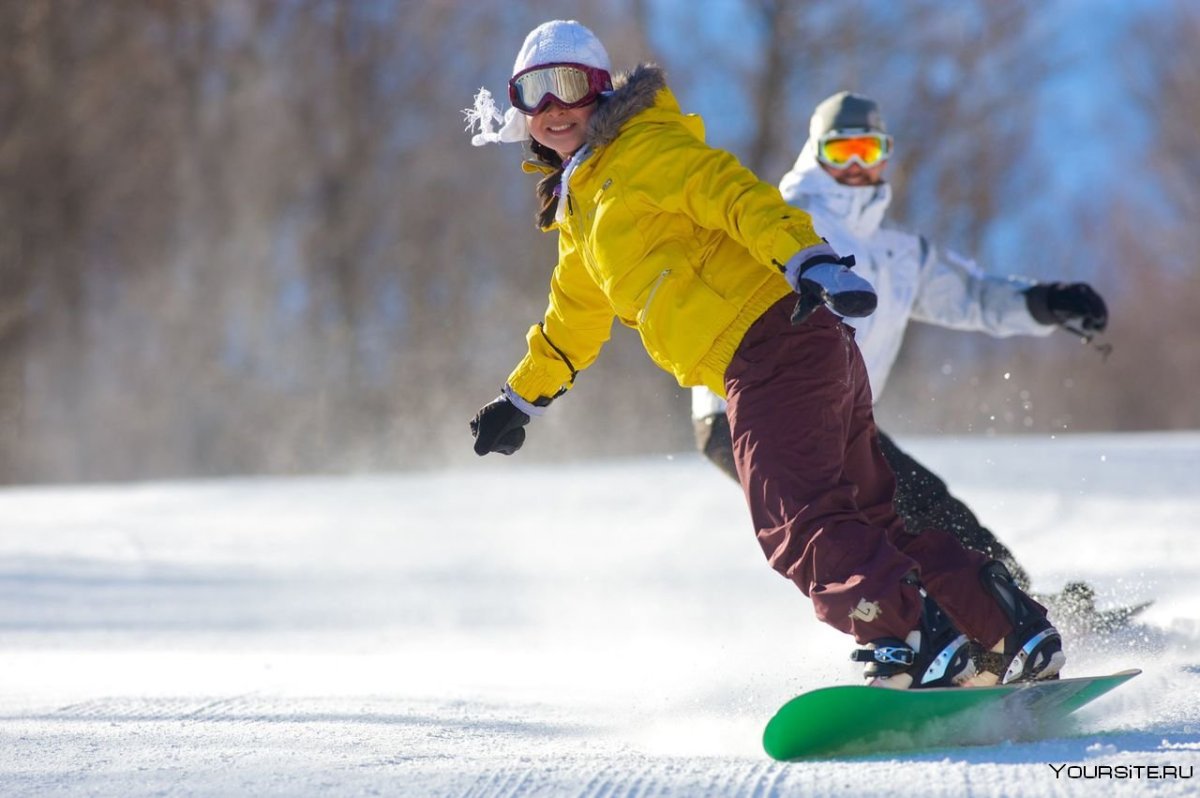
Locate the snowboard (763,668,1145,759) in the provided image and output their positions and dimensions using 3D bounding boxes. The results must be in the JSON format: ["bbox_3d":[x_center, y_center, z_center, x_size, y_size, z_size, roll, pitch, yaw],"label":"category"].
[{"bbox_3d":[1.969,1.654,10.534,2.108,0.301,0.605,-2,-26,-12],"label":"snowboard"}]

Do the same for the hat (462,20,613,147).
[{"bbox_3d":[-0.202,-1.944,11.161,0.646,0.499,0.887,2,34,34],"label":"hat"}]
